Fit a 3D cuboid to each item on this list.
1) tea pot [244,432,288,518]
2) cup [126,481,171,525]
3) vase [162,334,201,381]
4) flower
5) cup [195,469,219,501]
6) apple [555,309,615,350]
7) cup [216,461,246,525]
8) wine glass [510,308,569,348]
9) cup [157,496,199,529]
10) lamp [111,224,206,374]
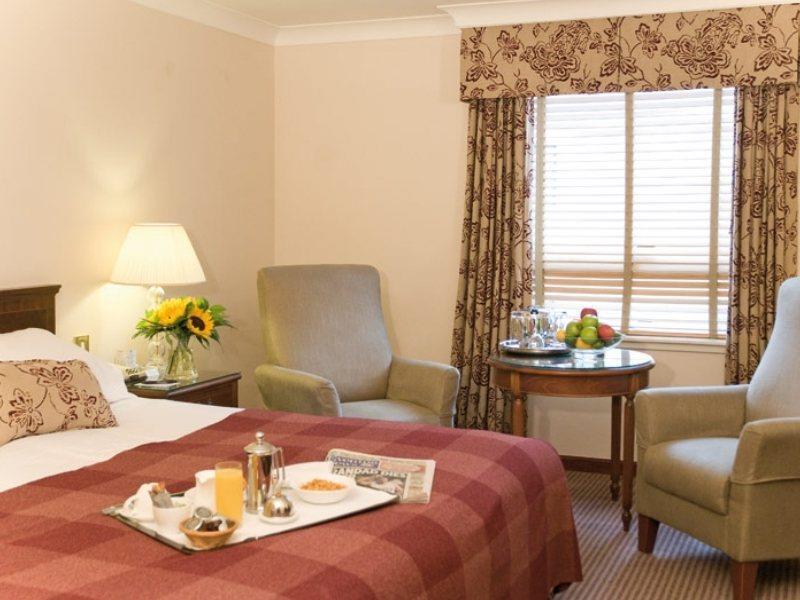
[{"bbox_3d":[-0.430,0.554,2.001,0.116,0.246,0.124,1,7,0],"label":"tea pot"},{"bbox_3d":[-0.758,0.623,1.907,0.139,0.095,0.153,1,0,0],"label":"cup"},{"bbox_3d":[-1.336,0.361,3.928,0.257,0.336,0.264,-2,-2,6],"label":"vase"},{"bbox_3d":[-1.403,0.162,3.888,0.492,0.293,0.484,-7,2,-17],"label":"flower"},{"bbox_3d":[-0.588,0.576,1.923,0.054,0.095,0.041,-1,7,-11],"label":"cup"},{"bbox_3d":[1.157,0.170,3.866,0.261,0.146,0.284,0,1,31],"label":"apple"},{"bbox_3d":[-0.511,0.586,1.895,0.084,0.170,0.074,-1,8,-17],"label":"cup"},{"bbox_3d":[0.871,0.175,4.025,0.310,0.201,0.282,0,-2,-13],"label":"wine glass"},{"bbox_3d":[-0.651,0.629,1.867,0.087,0.051,0.084,0,2,0],"label":"cup"},{"bbox_3d":[-1.503,0.045,4.004,0.451,0.716,0.445,-5,-17,-1],"label":"lamp"}]
